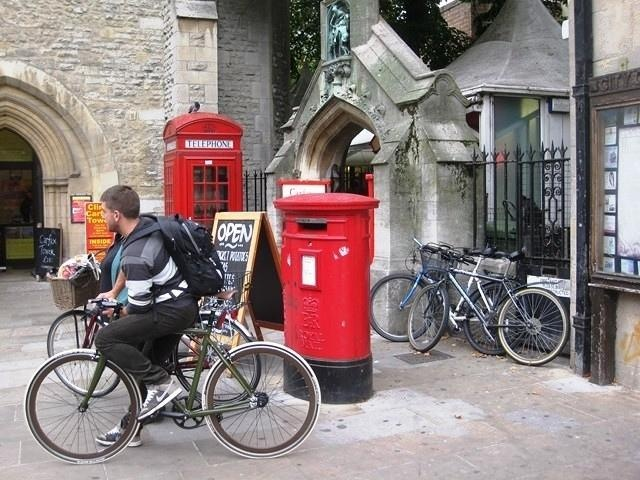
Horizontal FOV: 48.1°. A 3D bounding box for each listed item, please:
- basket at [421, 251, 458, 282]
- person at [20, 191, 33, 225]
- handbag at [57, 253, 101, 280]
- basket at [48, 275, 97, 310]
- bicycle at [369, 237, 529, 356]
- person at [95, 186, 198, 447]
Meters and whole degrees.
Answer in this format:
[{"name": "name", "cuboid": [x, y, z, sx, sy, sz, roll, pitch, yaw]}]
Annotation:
[{"name": "basket", "cuboid": [1.443, 0.314, 9.249, 0.612, 0.332, 0.251, 6, 0, -3]}, {"name": "person", "cuboid": [-7.337, -0.803, 17.814, 0.309, 0.805, 0.175, -5, 11, -22]}, {"name": "handbag", "cuboid": [-2.709, 0.291, 8.001, 0.522, 0.292, 0.416, -12, -3, 7]}, {"name": "basket", "cuboid": [-2.793, 0.562, 8.048, 0.347, 0.304, 0.476, -4, 6, 10]}, {"name": "bicycle", "cuboid": [1.778, 0.729, 8.816, 2.459, 1.435, 0.676, 4, -12, 9]}, {"name": "person", "cuboid": [-1.480, 0.518, 6.121, 0.833, 1.935, 0.526, -2, 10, -7]}]
